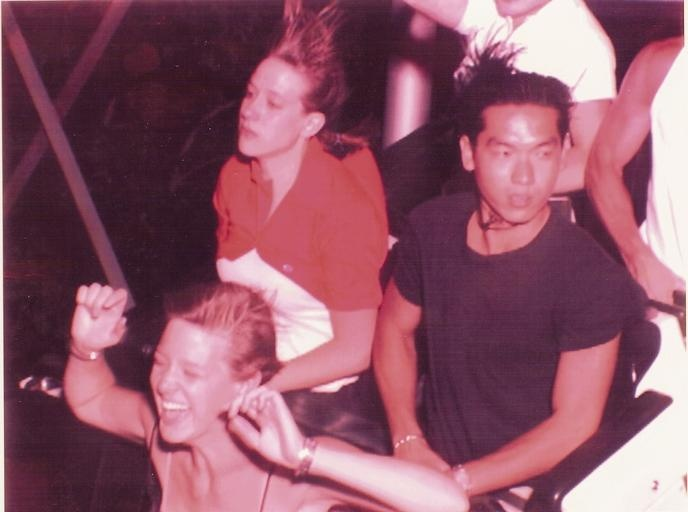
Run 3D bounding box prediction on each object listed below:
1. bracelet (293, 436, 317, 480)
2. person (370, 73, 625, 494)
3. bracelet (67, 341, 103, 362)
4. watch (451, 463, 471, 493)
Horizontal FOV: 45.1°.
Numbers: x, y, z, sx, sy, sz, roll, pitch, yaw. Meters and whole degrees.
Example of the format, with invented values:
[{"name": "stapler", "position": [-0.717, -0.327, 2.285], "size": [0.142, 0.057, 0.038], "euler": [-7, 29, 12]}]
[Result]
[{"name": "bracelet", "position": [-0.149, 0.805, 3.328], "size": [0.043, 0.131, 0.092], "euler": [11, 3, -1]}, {"name": "person", "position": [0.619, 0.115, 3.333], "size": [0.974, 1.457, 0.772], "euler": [0, 28, 2]}, {"name": "bracelet", "position": [-1.077, 0.403, 3.467], "size": [0.083, 0.023, 0.091], "euler": [15, 9, -11]}, {"name": "watch", "position": [0.475, 0.891, 3.346], "size": [0.061, 0.101, 0.024], "euler": [-34, -10, 3]}]
